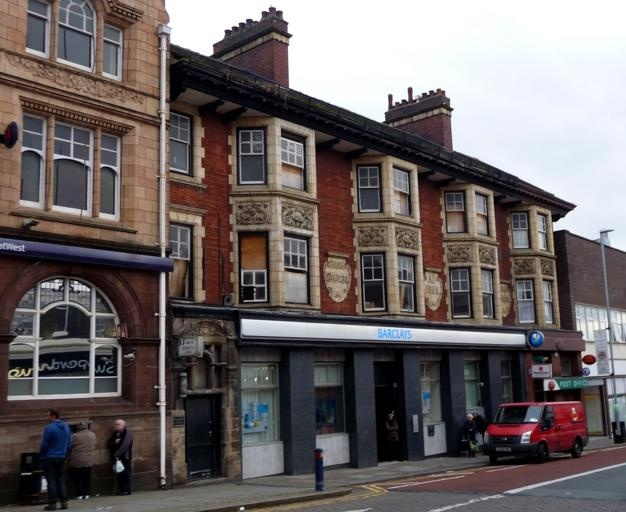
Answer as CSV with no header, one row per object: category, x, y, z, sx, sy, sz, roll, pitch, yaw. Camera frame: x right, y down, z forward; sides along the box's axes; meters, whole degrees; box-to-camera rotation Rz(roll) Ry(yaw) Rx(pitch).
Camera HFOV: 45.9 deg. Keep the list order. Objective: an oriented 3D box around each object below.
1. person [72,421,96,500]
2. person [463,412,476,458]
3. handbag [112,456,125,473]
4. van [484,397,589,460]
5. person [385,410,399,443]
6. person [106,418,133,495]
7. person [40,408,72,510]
person,-5.799,5.166,18.680,0.636,1.891,0.902,1,-15,-17
person,6.421,7.295,30.112,0.452,1.694,1.366,-7,-15,10
handbag,-5.037,5.458,19.206,0.311,0.562,0.383,0,-11,-11
van,8.337,6.581,27.535,2.141,1.619,3.934,-17,-28,38
person,3.007,6.487,28.176,0.493,1.139,0.726,-5,-15,5
person,-5.064,5.306,19.488,0.628,1.911,0.557,-17,-19,41
person,-5.922,4.648,16.976,0.614,2.256,0.496,2,-15,-20
